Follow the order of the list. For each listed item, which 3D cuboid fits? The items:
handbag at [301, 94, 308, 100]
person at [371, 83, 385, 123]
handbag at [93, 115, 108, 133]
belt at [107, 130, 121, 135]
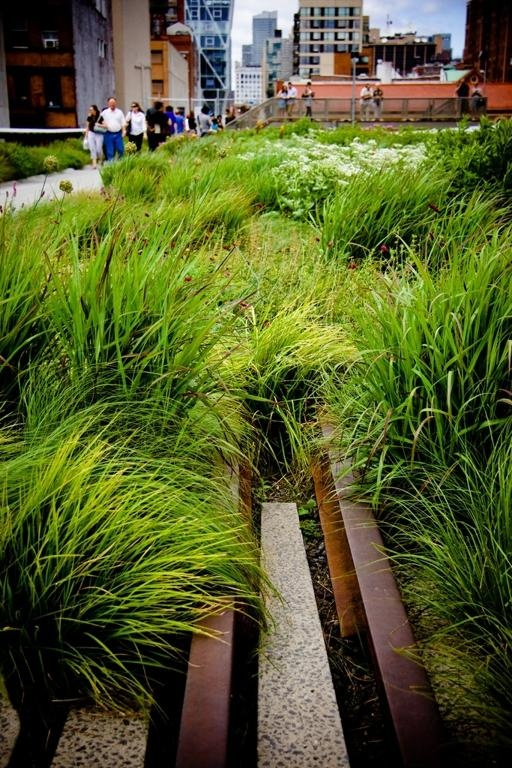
[{"bbox_3d":[3.100,-18.201,33.278,0.407,0.443,0.584,4,13,10],"label":"handbag"},{"bbox_3d":[7.972,-18.289,34.512,0.744,2.080,1.574,4,19,12],"label":"person"},{"bbox_3d":[-4.726,-7.867,15.899,0.340,0.485,0.666,-7,20,-18],"label":"handbag"},{"bbox_3d":[-4.286,-7.622,15.918,0.410,0.120,0.241,-7,21,-19],"label":"belt"}]
